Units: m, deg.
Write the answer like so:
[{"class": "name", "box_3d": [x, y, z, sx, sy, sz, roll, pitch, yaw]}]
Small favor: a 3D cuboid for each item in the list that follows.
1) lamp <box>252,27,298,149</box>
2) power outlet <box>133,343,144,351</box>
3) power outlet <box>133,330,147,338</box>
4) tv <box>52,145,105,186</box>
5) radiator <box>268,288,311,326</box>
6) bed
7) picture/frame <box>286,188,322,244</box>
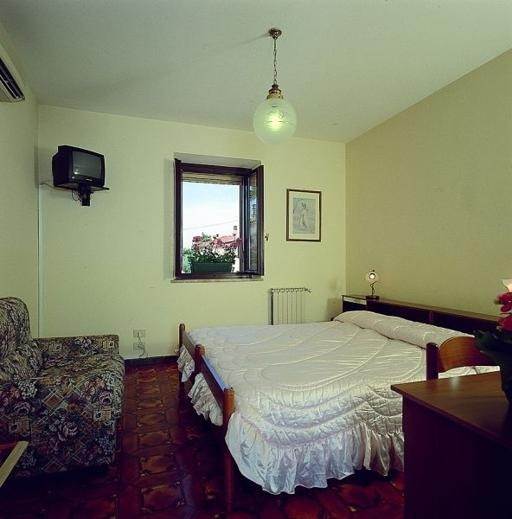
[{"class": "lamp", "box_3d": [0.124, -1.128, 2.827, 0.286, 0.727, 0.286, -2, 7, -11]}, {"class": "power outlet", "box_3d": [-1.241, 0.917, 4.528, 0.084, 0.060, 0.011, 1, 3, -9]}, {"class": "power outlet", "box_3d": [-1.223, 0.782, 4.536, 0.139, 0.098, 0.075, 1, 3, -15]}, {"class": "tv", "box_3d": [-1.670, -0.845, 4.095, 0.280, 0.336, 0.398, -8, -6, 35]}, {"class": "radiator", "box_3d": [0.417, 0.583, 5.068, 0.535, 0.504, 0.094, -4, 2, -2]}, {"class": "bed", "box_3d": [0.401, 0.759, 2.511, 1.304, 0.559, 1.332, 1, 0, -13]}, {"class": "picture/frame", "box_3d": [0.559, -0.536, 5.227, 0.673, 0.878, 0.057, 1, -2, -25]}]
